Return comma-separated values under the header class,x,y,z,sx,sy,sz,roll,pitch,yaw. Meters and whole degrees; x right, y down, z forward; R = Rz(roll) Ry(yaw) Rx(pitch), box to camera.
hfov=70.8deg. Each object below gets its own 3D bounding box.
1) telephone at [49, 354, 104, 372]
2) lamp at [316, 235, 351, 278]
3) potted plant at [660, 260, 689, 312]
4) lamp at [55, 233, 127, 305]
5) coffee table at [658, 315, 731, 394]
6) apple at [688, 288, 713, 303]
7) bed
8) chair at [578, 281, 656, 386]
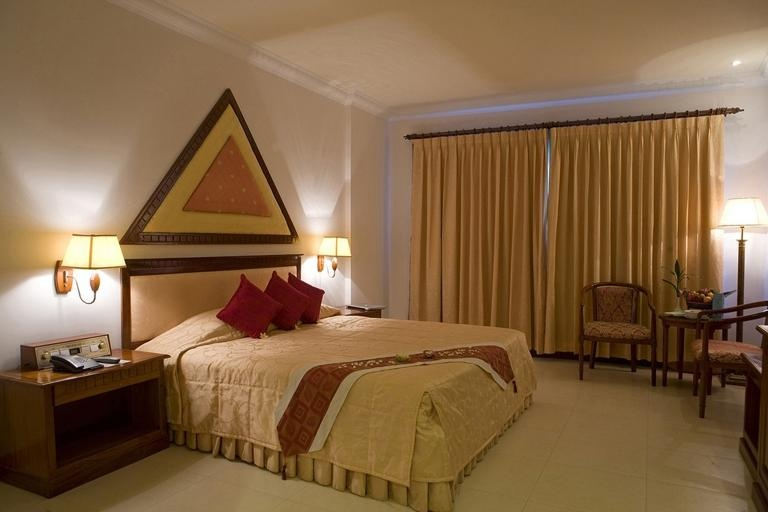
class,x,y,z,sx,sy,sz,roll,pitch,yaw
telephone,-2.627,0.896,4.559,0.433,0.114,0.183,4,12,16
lamp,-0.691,0.023,7.361,0.459,0.571,0.488,2,6,-5
potted plant,3.817,0.392,7.024,0.319,0.576,0.365,10,-9,-19
lamp,-2.706,0.131,4.911,0.486,0.624,0.440,2,7,16
coffee table,3.695,1.122,6.546,0.571,0.665,0.559,5,-6,25
apple,3.888,0.490,6.633,0.210,0.079,0.210,-8,7,-37
bed,-0.622,1.149,5.162,2.791,1.443,2.381,1,4,28
chair,3.024,0.926,6.958,0.910,1.231,0.952,1,0,33
